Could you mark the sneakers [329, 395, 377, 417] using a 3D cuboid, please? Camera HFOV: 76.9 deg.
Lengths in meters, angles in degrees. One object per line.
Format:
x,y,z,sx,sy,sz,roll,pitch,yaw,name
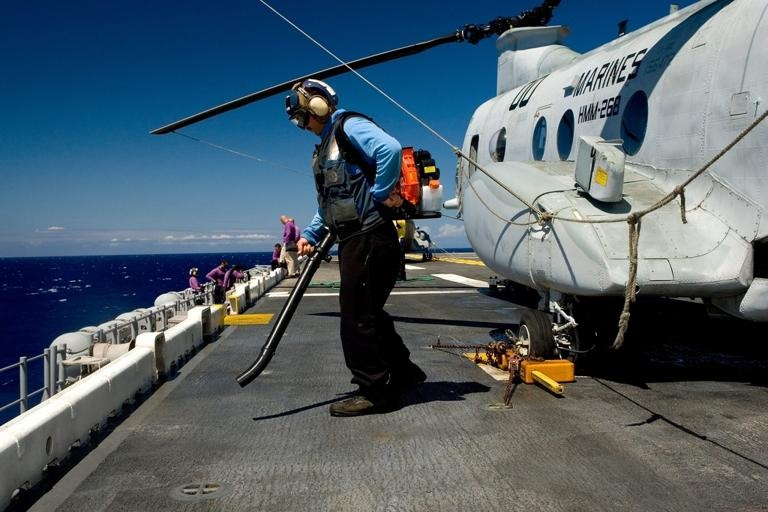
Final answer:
-0.316,1.528,4.975,0.533,0.205,0.184,2,-3,-6,sneakers
